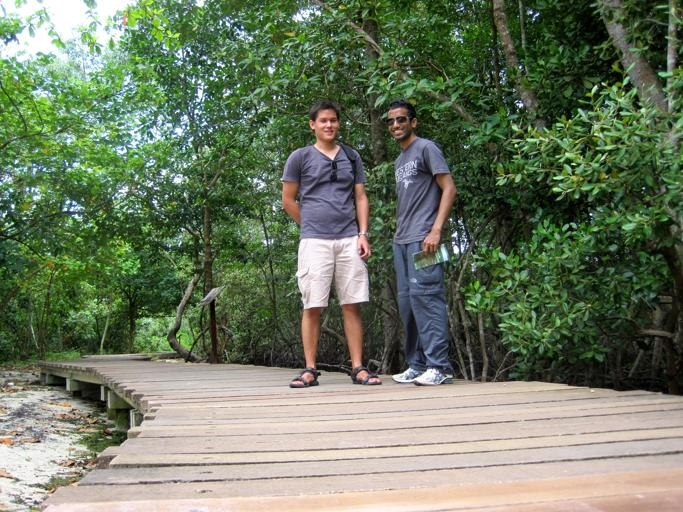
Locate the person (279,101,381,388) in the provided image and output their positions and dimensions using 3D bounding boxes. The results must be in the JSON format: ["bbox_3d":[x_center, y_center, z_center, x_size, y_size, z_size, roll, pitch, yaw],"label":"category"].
[{"bbox_3d":[-0.099,-0.079,4.163,0.684,2.140,0.425,-3,-4,-2],"label":"person"}]

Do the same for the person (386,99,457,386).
[{"bbox_3d":[0.600,0.037,4.060,0.321,1.822,0.569,-2,-5,-16],"label":"person"}]

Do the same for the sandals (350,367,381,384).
[{"bbox_3d":[0.201,0.914,4.160,0.115,0.095,0.225,3,-10,-27],"label":"sandals"}]

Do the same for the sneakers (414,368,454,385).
[{"bbox_3d":[0.664,0.870,3.913,0.251,0.107,0.113,5,-13,-24],"label":"sneakers"}]

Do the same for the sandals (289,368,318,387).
[{"bbox_3d":[-0.281,0.943,4.217,0.105,0.115,0.290,-4,-13,21],"label":"sandals"}]

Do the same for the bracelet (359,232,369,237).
[{"bbox_3d":[0.170,-0.164,4.151,0.072,0.050,0.075,5,-3,8],"label":"bracelet"}]

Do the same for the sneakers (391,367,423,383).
[{"bbox_3d":[0.502,0.934,4.236,0.229,0.104,0.095,-1,-7,-1],"label":"sneakers"}]
